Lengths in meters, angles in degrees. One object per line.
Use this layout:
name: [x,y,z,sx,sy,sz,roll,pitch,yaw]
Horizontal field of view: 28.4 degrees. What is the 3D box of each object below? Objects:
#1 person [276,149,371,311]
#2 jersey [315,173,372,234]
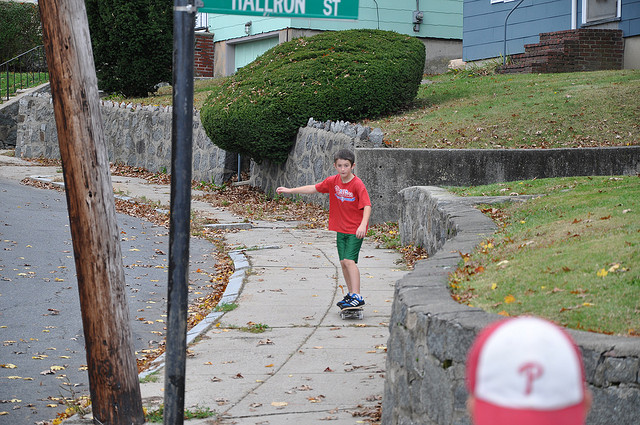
person: [0.424,0.300,22.901,0.810,2.930,1.143,-3,9,-31]
jersey: [0.354,-0.172,22.986,1.328,1.053,0.376,5,3,28]
